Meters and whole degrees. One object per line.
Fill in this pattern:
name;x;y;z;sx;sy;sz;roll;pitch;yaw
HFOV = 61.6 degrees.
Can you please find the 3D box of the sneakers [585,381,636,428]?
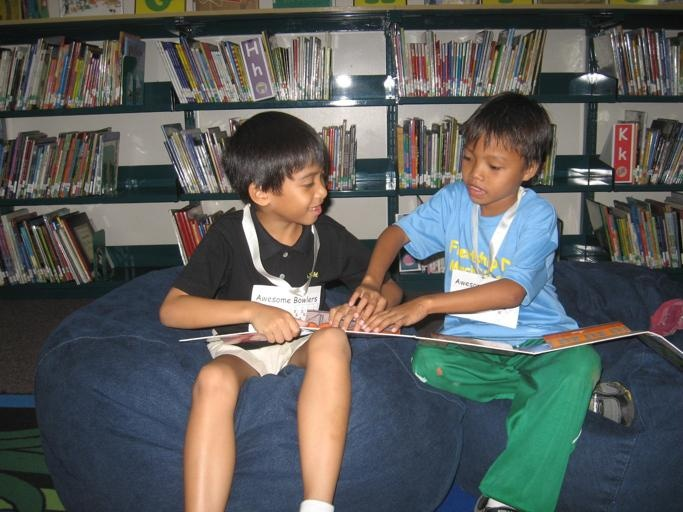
sneakers;0.890;0.479;1.874;0.126;0.116;0.122;-3;3;-16
